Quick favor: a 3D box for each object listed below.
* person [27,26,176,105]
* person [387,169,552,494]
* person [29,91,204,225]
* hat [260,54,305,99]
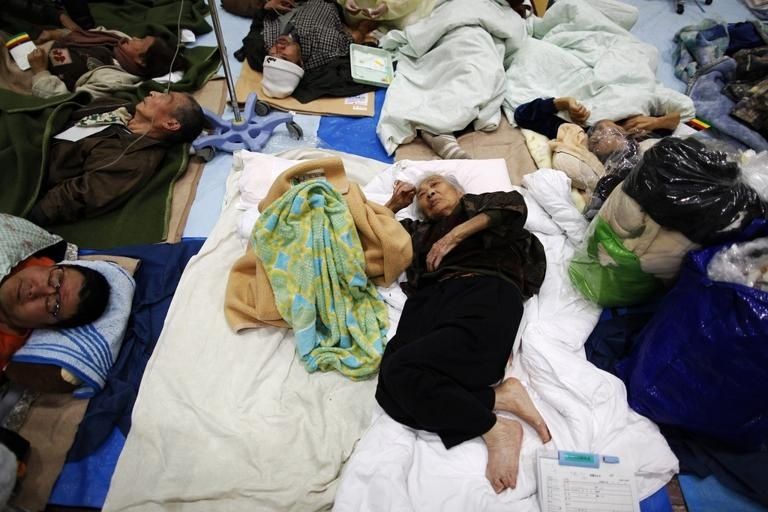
[{"bbox_3d":[-1.956,-1.365,3.967,0.764,0.294,0.595,1,42,-13],"label":"person"},{"bbox_3d":[0.489,0.424,3.201,1.035,0.477,1.342,13,62,20],"label":"person"},{"bbox_3d":[-1.652,-0.513,3.617,0.912,0.365,0.709,-23,59,-16],"label":"person"},{"bbox_3d":[-0.716,-1.237,3.979,0.240,0.220,0.281,24,17,9],"label":"hat"}]
